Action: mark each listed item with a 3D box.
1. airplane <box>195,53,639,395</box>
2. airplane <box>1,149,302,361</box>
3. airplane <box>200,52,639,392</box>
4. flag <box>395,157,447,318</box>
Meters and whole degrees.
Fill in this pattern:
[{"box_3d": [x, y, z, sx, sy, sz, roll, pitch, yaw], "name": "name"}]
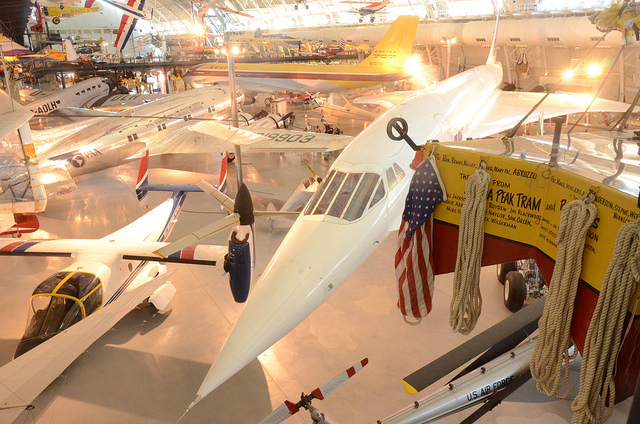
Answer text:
[{"box_3d": [3.181, -1.489, 15.640, 11.093, 3.223, 18.311, 8, 40, 43], "name": "airplane"}, {"box_3d": [-5.400, 1.509, 15.497, 7.829, 3.225, 8.167, 7, 38, 8], "name": "airplane"}, {"box_3d": [3.294, -1.785, 15.938, 9.715, 2.742, 19.154, 16, 43, 35], "name": "airplane"}, {"box_3d": [2.202, 0.713, 9.463, 1.012, 3.180, 0.840, 2, -3, -5], "name": "flag"}]
